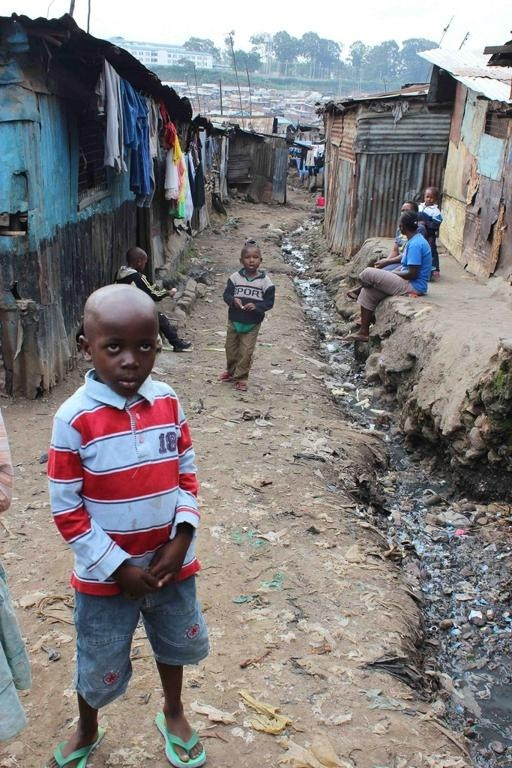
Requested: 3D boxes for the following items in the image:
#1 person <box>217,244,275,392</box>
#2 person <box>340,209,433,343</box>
[{"bbox_3d":[-0.092,-0.667,6.593,0.501,1.565,0.595,3,18,-4],"label":"person"},{"bbox_3d":[1.687,-1.293,7.995,0.532,1.649,0.812,-12,24,-42],"label":"person"}]
